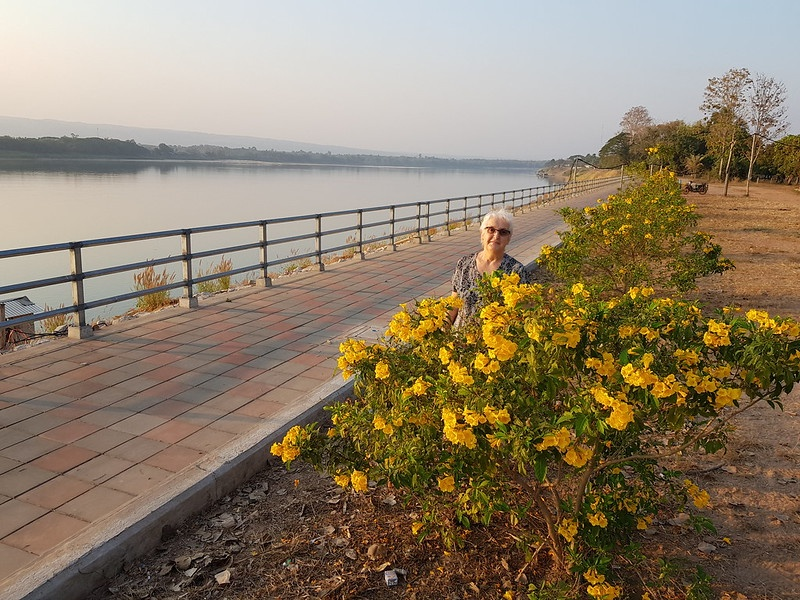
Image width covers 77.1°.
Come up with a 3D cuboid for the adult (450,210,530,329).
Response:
[{"bbox_3d":[0.813,-0.198,4.633,0.765,1.244,0.769,8,6,14],"label":"adult"}]
